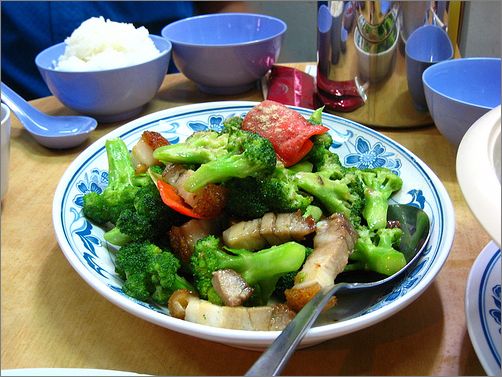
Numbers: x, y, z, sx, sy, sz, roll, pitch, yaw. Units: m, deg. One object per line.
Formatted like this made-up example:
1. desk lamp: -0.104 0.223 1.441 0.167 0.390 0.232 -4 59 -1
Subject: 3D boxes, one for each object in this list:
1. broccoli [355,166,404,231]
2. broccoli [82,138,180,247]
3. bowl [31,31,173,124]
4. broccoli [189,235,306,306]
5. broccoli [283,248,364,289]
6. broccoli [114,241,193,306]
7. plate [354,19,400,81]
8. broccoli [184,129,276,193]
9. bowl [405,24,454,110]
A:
1. broccoli: 0.321 0.023 1.081 0.134 0.052 0.194 -2 49 22
2. broccoli: -0.316 0.039 1.048 0.180 0.105 0.274 -26 52 -35
3. bowl: -0.521 -0.420 1.446 0.359 0.208 0.385 0 31 0
4. broccoli: -0.010 0.174 0.863 0.186 0.084 0.157 -15 76 9
5. broccoli: 0.159 0.202 0.927 0.144 0.095 0.058 -11 58 10
6. broccoli: -0.228 0.202 0.938 0.152 0.079 0.116 12 64 23
7. plate: 0.415 -0.431 1.365 0.110 0.115 0.113 -24 48 -9
8. broccoli: -0.050 -0.048 1.008 0.182 0.092 0.138 -23 57 -6
9. bowl: 0.571 -0.392 1.315 0.125 0.171 0.269 1 48 10
